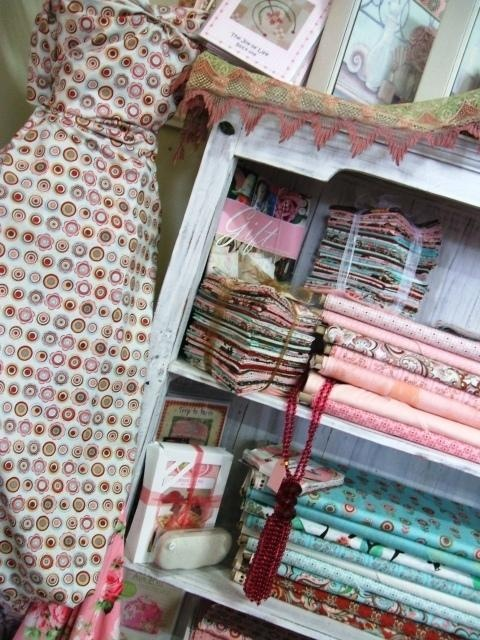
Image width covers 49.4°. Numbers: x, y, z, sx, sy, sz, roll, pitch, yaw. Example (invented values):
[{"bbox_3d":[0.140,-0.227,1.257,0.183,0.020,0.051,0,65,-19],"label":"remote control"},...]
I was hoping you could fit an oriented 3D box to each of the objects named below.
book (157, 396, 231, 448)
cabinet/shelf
[{"bbox_3d":[-0.107,0.218,1.130,0.156,0.099,0.017,10,5,-40],"label":"book"},{"bbox_3d":[-0.025,0.086,1.289,0.953,0.911,0.223,15,-12,0],"label":"cabinet/shelf"}]
